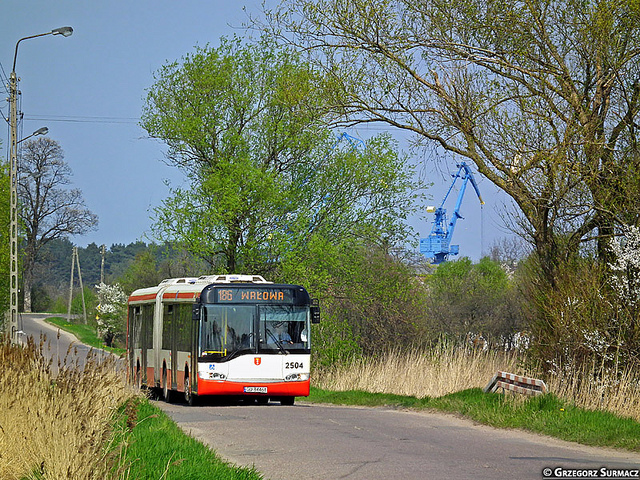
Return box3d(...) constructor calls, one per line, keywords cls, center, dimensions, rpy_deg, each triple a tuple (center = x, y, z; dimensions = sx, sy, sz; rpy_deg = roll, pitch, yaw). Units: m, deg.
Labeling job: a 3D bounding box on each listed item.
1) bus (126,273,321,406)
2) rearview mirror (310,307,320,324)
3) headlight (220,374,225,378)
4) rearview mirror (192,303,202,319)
box3d(cls="bus", center=(-3.734, 3.250, 29.168), dimensions=(3.487, 4.616, 10.158), rpy_deg=(1, -5, -25))
box3d(cls="rearview mirror", center=(-0.151, 2.137, 25.225), dimensions=(0.196, 0.439, 0.611), rpy_deg=(4, -9, -9))
box3d(cls="headlight", center=(-2.688, 3.750, 24.407), dimensions=(0.124, 0.089, 0.029), rpy_deg=(7, -8, -19))
box3d(cls="rearview mirror", center=(-3.414, 1.980, 24.453), dimensions=(0.284, 0.626, 0.269), rpy_deg=(3, -4, -40))
